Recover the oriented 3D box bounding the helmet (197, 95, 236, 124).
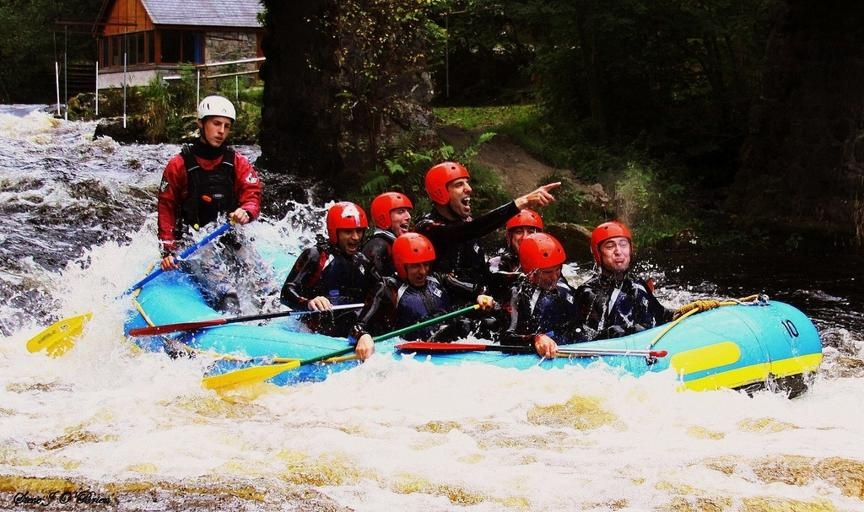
[{"bbox_3d":[-3.764,-2.485,17.065,0.408,0.489,0.540,2,-10,-27],"label":"helmet"}]
